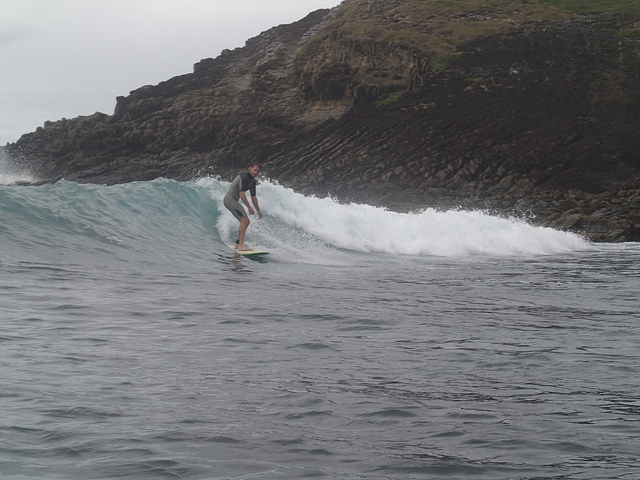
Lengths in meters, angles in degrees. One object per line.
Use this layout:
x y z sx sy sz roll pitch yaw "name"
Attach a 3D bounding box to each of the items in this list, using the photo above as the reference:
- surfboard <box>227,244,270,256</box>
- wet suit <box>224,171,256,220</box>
-1.908 0.320 25.111 0.911 0.262 0.916 -11 12 -15 "surfboard"
-2.152 -1.212 25.264 1.079 1.339 0.528 -18 18 -6 "wet suit"
